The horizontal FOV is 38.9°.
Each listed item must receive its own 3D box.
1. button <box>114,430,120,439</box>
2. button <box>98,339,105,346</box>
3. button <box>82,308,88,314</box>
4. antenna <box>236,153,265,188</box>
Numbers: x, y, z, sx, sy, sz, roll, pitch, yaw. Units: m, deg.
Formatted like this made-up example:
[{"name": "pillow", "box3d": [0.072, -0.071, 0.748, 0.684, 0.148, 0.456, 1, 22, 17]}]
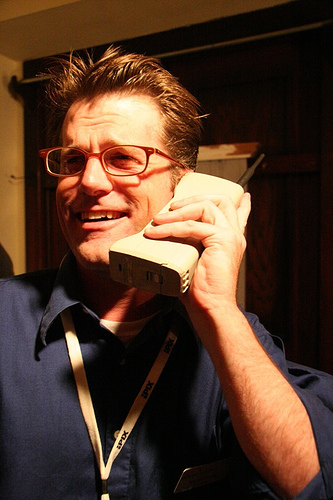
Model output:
[{"name": "button", "box3d": [-0.106, 0.391, 0.996, 0.010, 0.015, 0.016, 4, 11, -6]}, {"name": "button", "box3d": [-0.150, 0.215, 1.095, 0.013, 0.013, 0.013, -3, -5, 3]}, {"name": "button", "box3d": [-0.192, 0.145, 1.115, 0.011, 0.003, 0.011, 21, -23, 50]}, {"name": "antenna", "box3d": [0.229, -0.212, 1.282, 0.055, 0.112, 0.071, 9, 14, 21]}]
